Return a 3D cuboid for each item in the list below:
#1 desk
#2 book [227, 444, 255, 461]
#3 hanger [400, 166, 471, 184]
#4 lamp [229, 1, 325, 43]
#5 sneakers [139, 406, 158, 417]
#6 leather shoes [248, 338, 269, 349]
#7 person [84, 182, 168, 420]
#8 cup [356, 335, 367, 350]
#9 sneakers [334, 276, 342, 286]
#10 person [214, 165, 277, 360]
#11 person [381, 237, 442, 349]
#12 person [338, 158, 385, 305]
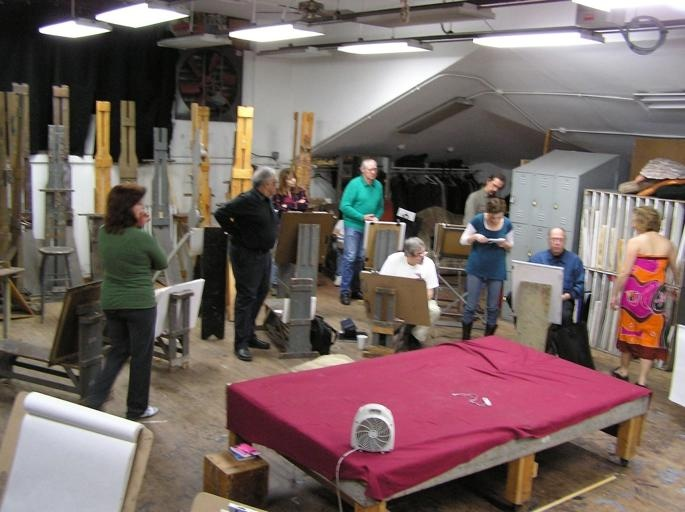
[{"bbox_3d":[0.672,1.210,3.821,2.650,0.706,1.383,-2,7,-31],"label":"desk"},{"bbox_3d":[-0.614,1.200,3.234,0.154,0.036,0.133,8,8,44],"label":"book"},{"bbox_3d":[1.840,-1.642,10.536,1.820,0.272,0.489,0,7,-21],"label":"hanger"},{"bbox_3d":[-0.776,-2.541,6.035,1.100,0.127,0.531,7,8,40],"label":"lamp"},{"bbox_3d":[-1.600,1.291,4.398,0.059,0.043,0.138,-27,-15,30],"label":"sneakers"},{"bbox_3d":[-0.927,0.969,5.865,0.287,0.103,0.093,8,9,-3],"label":"leather shoes"},{"bbox_3d":[-1.653,0.408,4.055,0.555,1.902,0.298,-1,8,-24],"label":"person"},{"bbox_3d":[0.196,0.971,5.911,0.152,0.119,0.142,1,5,0],"label":"cup"},{"bbox_3d":[-0.085,0.417,8.723,0.173,0.158,0.160,2,3,0],"label":"sneakers"},{"bbox_3d":[-1.019,0.093,5.561,0.621,2.027,0.388,1,8,-11],"label":"person"},{"bbox_3d":[0.792,0.430,5.980,0.619,1.167,0.784,-10,21,-38],"label":"person"},{"bbox_3d":[0.247,-0.320,7.628,0.592,2.089,0.593,3,7,1],"label":"person"}]
